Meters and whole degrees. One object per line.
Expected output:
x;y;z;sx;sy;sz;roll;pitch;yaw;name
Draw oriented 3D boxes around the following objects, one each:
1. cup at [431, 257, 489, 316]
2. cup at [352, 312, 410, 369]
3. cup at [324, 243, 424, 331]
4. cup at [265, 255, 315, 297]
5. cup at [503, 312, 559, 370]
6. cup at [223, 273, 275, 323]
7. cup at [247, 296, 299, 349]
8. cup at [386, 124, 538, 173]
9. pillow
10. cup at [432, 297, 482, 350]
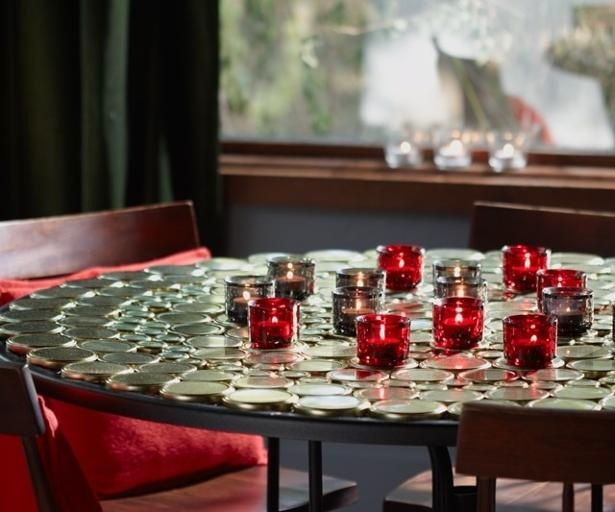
0.220;0.048;0.911;0.098;0.074;0.079;0;7;3;cup
0.075;0.088;0.645;0.066;0.039;0.058;0;4;3;cup
0.100;0.041;0.890;0.076;0.049;0.233;4;6;21;cup
-0.023;0.029;0.931;0.081;0.048;0.064;3;6;12;cup
0.226;0.088;0.641;0.067;0.045;0.057;-1;6;2;cup
-0.074;0.053;0.859;0.077;0.041;0.072;0;14;0;cup
-0.039;0.074;0.705;0.073;0.040;0.057;-3;10;-17;cup
0.553;-0.397;2.276;0.570;0.190;0.170;-1;10;14;cup
-0.286;0.183;1.121;0.453;0.352;0.119;-8;17;-1;pillow
0.170;0.075;0.702;0.070;0.043;0.060;0;9;3;cup
